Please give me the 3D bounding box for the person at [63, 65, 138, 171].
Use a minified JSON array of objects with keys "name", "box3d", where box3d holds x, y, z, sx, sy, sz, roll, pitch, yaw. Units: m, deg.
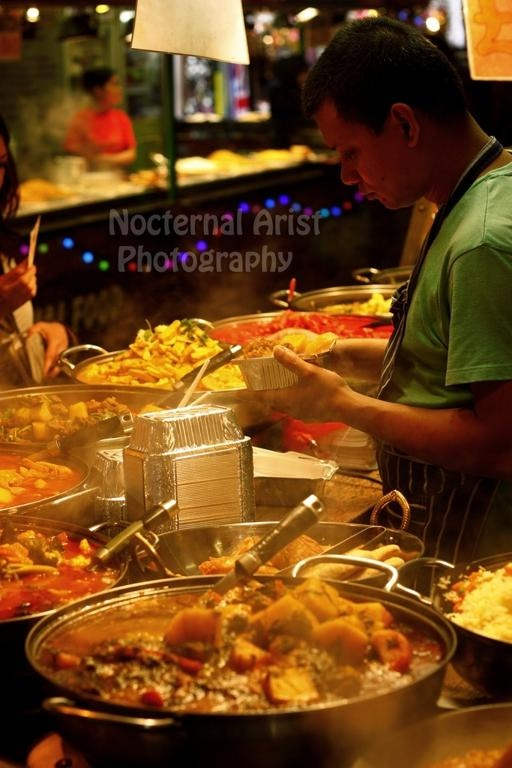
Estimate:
[{"name":"person","box3d":[-1.665,-2.812,6.959,0.703,1.011,1.264,-5,19,-9]}]
